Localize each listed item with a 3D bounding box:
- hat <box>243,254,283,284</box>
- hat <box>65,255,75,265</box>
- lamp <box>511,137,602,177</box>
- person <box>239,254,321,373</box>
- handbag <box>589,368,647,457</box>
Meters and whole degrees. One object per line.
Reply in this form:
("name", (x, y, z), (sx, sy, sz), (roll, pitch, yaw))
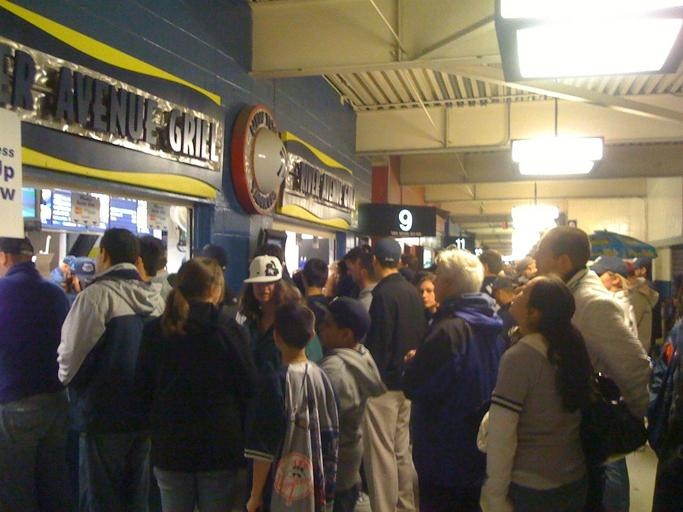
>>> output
("hat", (-0.537, 0.093, 4.113), (0.167, 0.148, 0.253), (4, -4, 6))
("hat", (-2.385, 0.029, 5.209), (0.095, 0.050, 0.122), (-10, 1, -11))
("lamp", (2.935, -1.313, 8.131), (1.025, 0.525, 2.186), (6, 2, 19))
("person", (-0.392, 0.463, 4.123), (0.426, 0.900, 0.495), (2, 16, -30))
("handbag", (1.419, 0.858, 3.144), (0.220, 0.475, 0.310), (-4, -21, 2))
